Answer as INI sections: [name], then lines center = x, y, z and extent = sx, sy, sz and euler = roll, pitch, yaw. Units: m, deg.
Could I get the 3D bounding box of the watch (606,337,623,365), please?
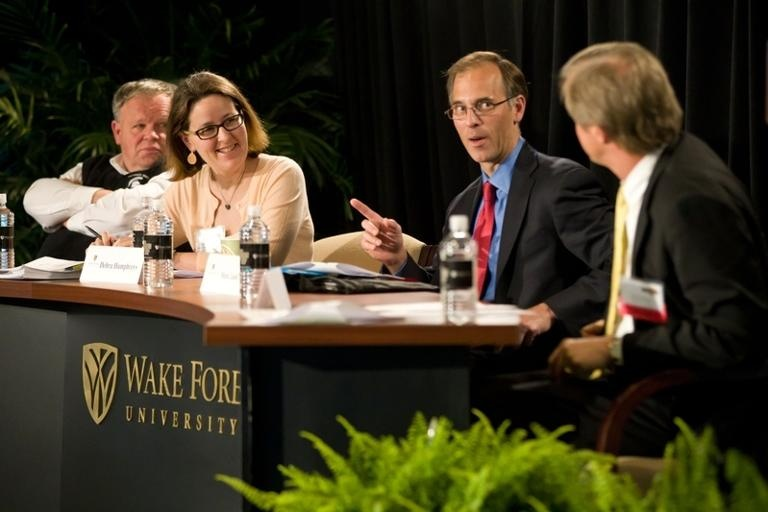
[watch]
center = 0.774, 0.320, 2.326
extent = 0.055, 0.081, 0.028
euler = -6, -7, 43

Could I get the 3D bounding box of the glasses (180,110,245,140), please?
[glasses]
center = -0.772, -0.600, 3.252
extent = 0.241, 0.130, 0.101
euler = -1, -2, -17

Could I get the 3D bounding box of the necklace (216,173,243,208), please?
[necklace]
center = -0.751, -0.293, 3.381
extent = 0.069, 0.214, 0.018
euler = 20, -4, 24

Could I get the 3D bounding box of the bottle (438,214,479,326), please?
[bottle]
center = 0.216, 0.060, 2.003
extent = 0.102, 0.262, 0.198
euler = -2, -2, 6
